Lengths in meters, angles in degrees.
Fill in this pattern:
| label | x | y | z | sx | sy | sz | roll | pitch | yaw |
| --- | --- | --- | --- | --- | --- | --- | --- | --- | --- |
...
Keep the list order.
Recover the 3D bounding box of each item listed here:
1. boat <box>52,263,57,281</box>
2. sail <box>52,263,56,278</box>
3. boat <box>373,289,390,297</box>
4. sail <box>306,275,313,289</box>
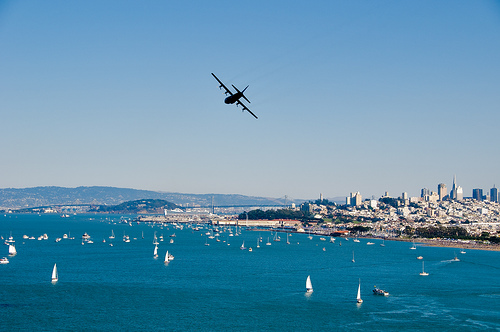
| label | x | y | z | sx | sy | sz | roll | pitch | yaw |
| --- | --- | --- | --- | --- | --- | --- | --- | --- | --- |
| boat | -56.931 | 31.132 | 272.583 | 1.331 | 4.390 | 4.699 | 2 | -5 | -13 |
| sail | -57.030 | 30.756 | 272.264 | 0.953 | 3.476 | 3.338 | 2 | -5 | -13 |
| boat | 37.144 | 35.756 | 262.882 | 3.829 | 1.944 | 1.957 | 0 | -5 | 5 |
| sail | 16.750 | 33.121 | 265.351 | 1.316 | 3.556 | 0.580 | 1 | 6 | -13 |
